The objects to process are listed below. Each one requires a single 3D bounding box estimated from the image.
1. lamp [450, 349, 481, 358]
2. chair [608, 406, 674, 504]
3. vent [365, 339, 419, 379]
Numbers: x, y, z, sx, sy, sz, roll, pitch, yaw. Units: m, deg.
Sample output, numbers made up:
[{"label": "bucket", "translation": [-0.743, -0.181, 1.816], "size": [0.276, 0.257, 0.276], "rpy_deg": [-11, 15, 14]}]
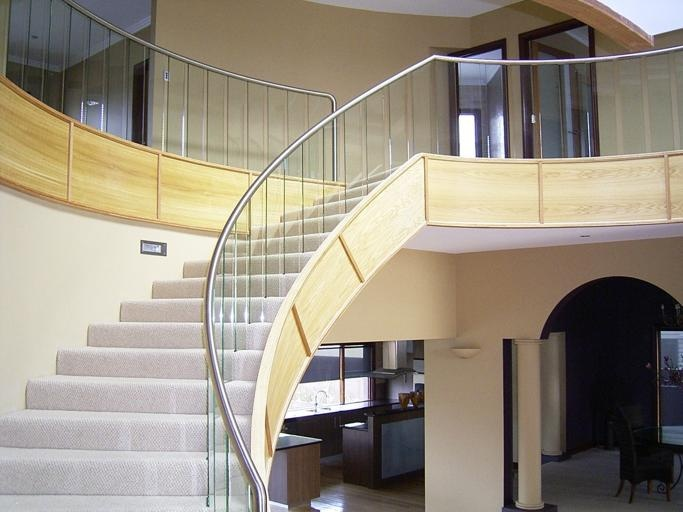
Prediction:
[{"label": "lamp", "translation": [1.696, 1.323, 8.302], "size": [0.357, 0.137, 0.160], "rpy_deg": [-9, -14, 36]}, {"label": "chair", "translation": [4.573, 3.017, 9.254], "size": [0.829, 1.370, 1.181], "rpy_deg": [-5, -12, 23]}, {"label": "vent", "translation": [1.183, 1.913, 13.170], "size": [0.918, 1.293, 0.778], "rpy_deg": [1, -5, -45]}]
